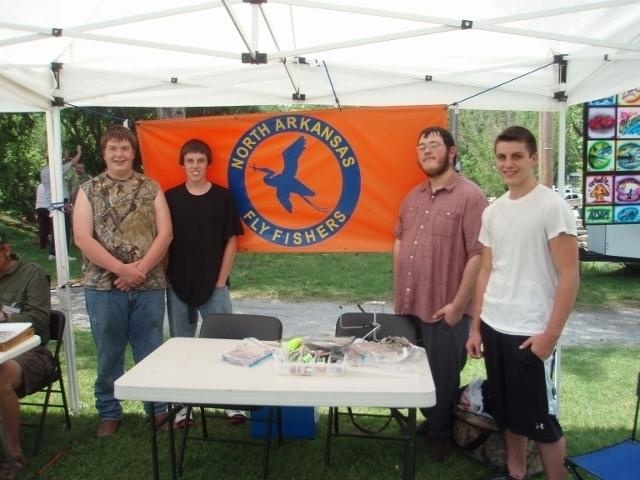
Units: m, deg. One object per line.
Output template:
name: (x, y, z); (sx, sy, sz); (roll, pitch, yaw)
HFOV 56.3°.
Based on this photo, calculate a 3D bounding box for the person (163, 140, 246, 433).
person: (-1.169, 0.397, 5.702); (0.937, 2.664, 0.799); (-2, 2, -6)

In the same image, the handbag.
handbag: (1.468, 1.608, 5.092); (0.615, 0.473, 0.672); (2, 1, -28)
